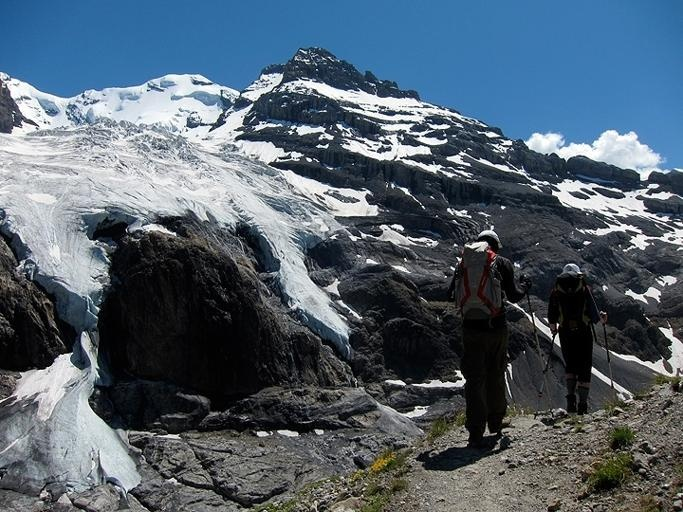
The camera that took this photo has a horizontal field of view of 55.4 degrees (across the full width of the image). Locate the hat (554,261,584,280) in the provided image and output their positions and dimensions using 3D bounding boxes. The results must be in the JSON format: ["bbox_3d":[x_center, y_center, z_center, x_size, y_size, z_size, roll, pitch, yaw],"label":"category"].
[{"bbox_3d":[9.427,0.645,26.982,1.066,0.657,0.793,-4,-6,13],"label":"hat"}]
